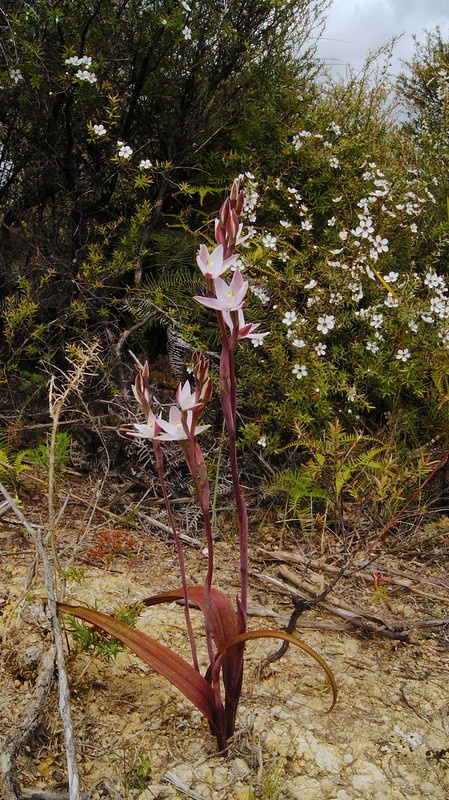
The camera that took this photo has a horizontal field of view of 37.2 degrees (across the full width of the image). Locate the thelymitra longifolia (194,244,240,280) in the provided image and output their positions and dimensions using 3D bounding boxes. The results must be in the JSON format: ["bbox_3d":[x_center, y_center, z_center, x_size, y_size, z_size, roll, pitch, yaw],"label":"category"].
[{"bbox_3d":[-0.024,-0.329,1.558,0.078,0.090,0.061,-19,-27,-13],"label":"thelymitra longifolia"}]

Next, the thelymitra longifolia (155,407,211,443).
[{"bbox_3d":[-0.107,0.073,1.595,0.103,0.055,0.089,34,33,33],"label":"thelymitra longifolia"}]

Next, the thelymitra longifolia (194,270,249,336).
[{"bbox_3d":[0.005,-0.228,1.517,0.095,0.113,0.163,0,-5,9],"label":"thelymitra longifolia"}]
